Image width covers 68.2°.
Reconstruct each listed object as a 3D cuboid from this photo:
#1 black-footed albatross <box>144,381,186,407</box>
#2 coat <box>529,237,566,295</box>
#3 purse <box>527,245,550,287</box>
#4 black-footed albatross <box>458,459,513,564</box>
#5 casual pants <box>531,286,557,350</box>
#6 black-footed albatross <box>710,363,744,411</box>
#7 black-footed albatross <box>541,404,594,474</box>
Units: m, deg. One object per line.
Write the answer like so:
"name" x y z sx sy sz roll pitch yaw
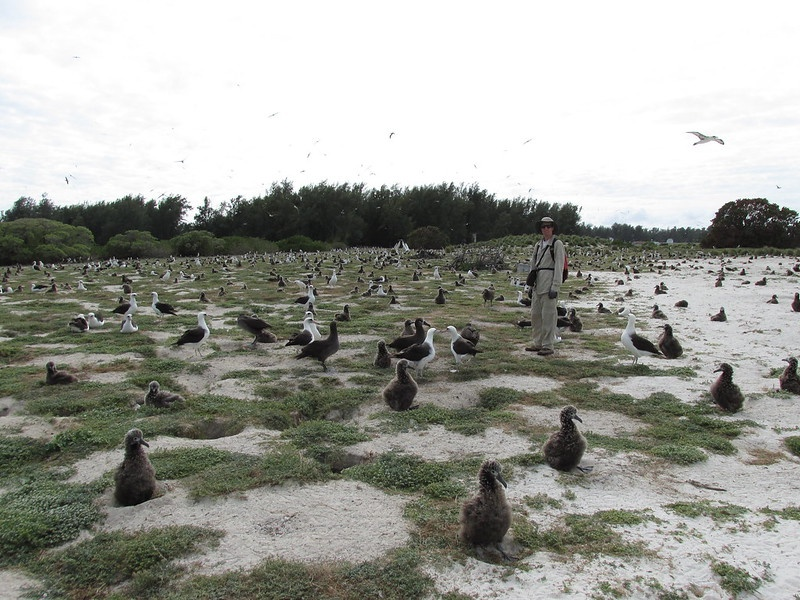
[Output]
"black-footed albatross" -4.850 1.874 11.938 0.853 0.493 0.473 -1 14 -4
"coat" 4.008 -0.914 15.662 0.869 1.560 1.139 4 2 -28
"purse" 3.612 -0.785 15.574 0.300 0.551 1.005 25 22 19
"black-footed albatross" 1.246 2.933 8.368 0.715 1.233 0.541 2 15 9
"casual pants" 3.980 0.323 15.652 0.452 1.612 1.422 12 -18 -6
"black-footed albatross" 6.586 1.714 11.793 0.632 0.912 0.555 5 4 3
"black-footed albatross" 2.780 2.335 10.279 1.008 1.149 0.822 -3 0 29
